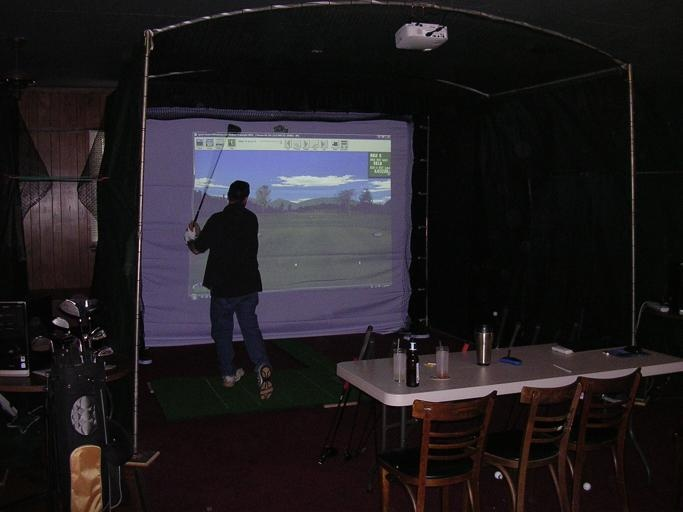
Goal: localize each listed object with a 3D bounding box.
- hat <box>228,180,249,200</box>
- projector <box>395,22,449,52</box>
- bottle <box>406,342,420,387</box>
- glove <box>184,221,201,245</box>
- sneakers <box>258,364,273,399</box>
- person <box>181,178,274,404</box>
[{"bbox_3d":[-0.958,-0.635,5.832,0.155,0.201,0.193,4,-8,-4],"label":"hat"},{"bbox_3d":[0.660,-1.869,5.183,0.394,0.211,0.316,0,11,-4],"label":"projector"},{"bbox_3d":[0.454,0.663,3.927,0.089,0.268,0.289,2,11,7],"label":"bottle"},{"bbox_3d":[-1.502,-0.226,6.208,0.193,0.277,0.101,6,-4,39],"label":"glove"},{"bbox_3d":[-0.693,1.155,5.684,0.136,0.326,0.136,-4,1,-15],"label":"sneakers"},{"bbox_3d":[-1.032,0.313,5.746,0.681,1.981,0.879,-4,11,-24],"label":"person"}]
